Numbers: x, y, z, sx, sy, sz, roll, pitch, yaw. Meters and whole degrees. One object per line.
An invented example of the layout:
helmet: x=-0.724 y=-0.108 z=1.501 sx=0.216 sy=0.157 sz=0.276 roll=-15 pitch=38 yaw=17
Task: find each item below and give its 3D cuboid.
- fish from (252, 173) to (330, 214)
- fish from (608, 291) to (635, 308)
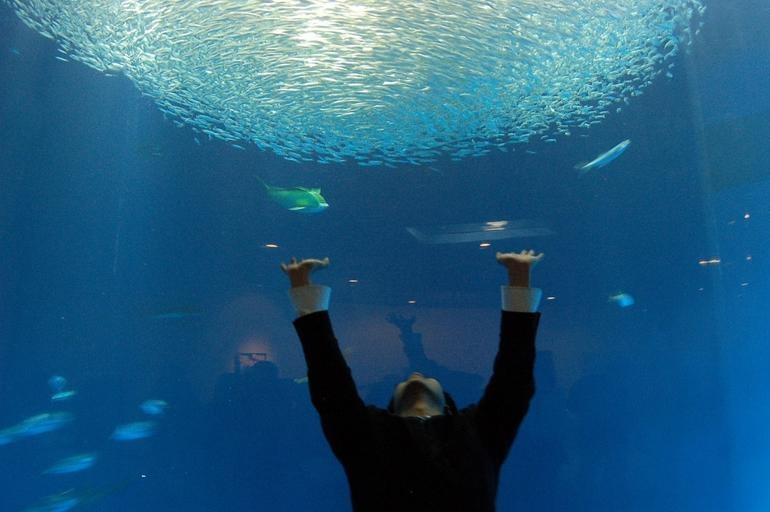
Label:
fish: x=-0.982 y=-0.624 z=6.932 sx=0.735 sy=0.258 sz=0.316 roll=17 pitch=95 yaw=4
fish: x=2.412 y=0.449 z=6.661 sx=0.174 sy=0.191 sz=0.068 roll=1 pitch=66 yaw=3
